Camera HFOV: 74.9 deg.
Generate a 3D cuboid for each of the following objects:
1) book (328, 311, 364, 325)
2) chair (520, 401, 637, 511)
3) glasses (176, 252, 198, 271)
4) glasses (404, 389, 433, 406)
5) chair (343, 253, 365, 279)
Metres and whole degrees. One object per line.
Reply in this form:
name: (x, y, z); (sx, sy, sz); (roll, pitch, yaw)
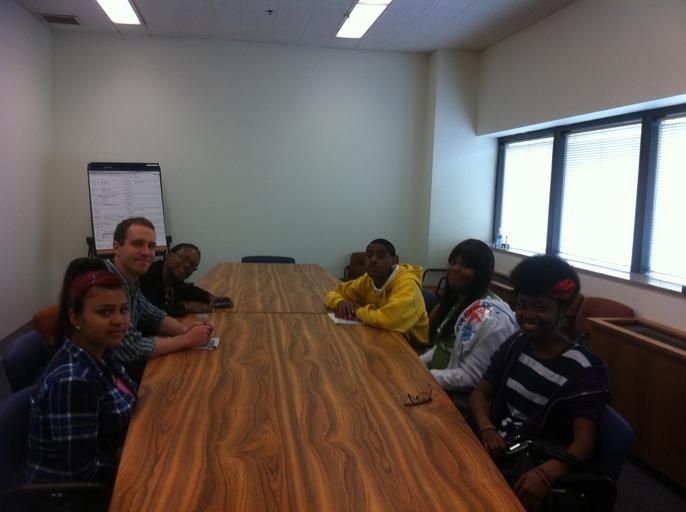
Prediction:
book: (0.024, 0.399, 2.897); (0.261, 0.021, 0.261); (1, 12, -1)
chair: (0.960, 0.788, 1.843); (0.223, 0.399, 0.259); (0, 3, -9)
glasses: (-1.156, 0.038, 3.346); (0.103, 0.092, 0.118); (25, -17, -31)
glasses: (0.325, 0.609, 1.944); (0.075, 0.034, 0.057); (-1, 11, 0)
chair: (0.156, 0.128, 6.111); (0.277, 0.431, 0.318); (1, -2, 3)
